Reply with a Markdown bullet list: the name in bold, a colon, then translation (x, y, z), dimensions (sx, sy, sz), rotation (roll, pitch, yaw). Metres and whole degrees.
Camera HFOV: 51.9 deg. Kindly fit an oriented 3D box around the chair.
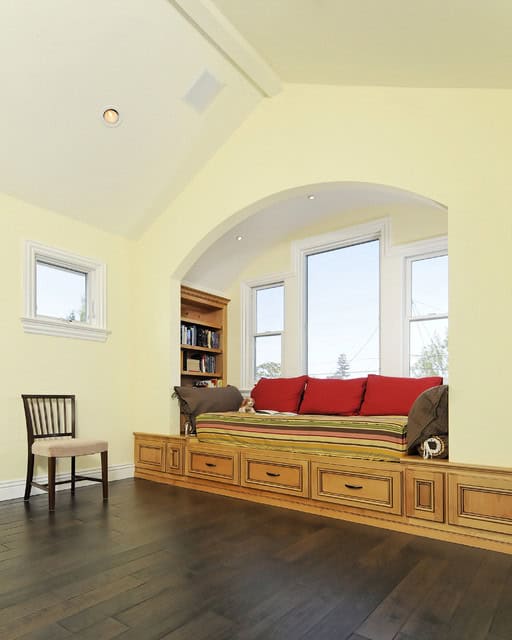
- **chair**: translation (-1.367, 0.942, 3.950), dimensions (0.721, 0.766, 0.800), rotation (5, -7, -41)
